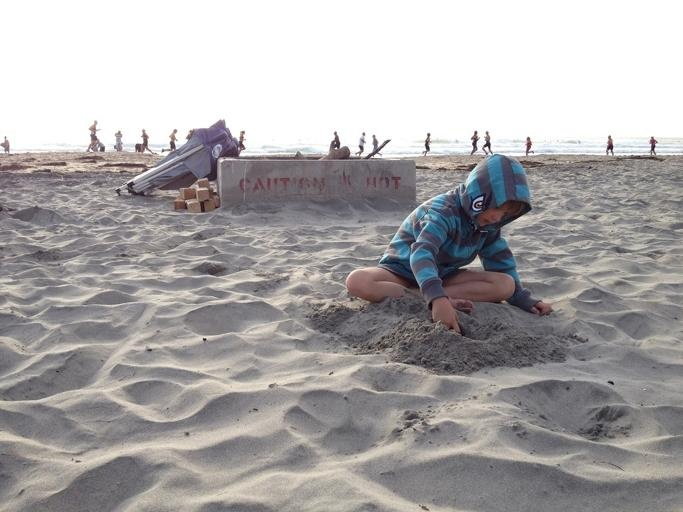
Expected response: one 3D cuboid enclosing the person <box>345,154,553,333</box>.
[{"bbox_3d":[0.683,-0.061,3.948,1.641,0.844,1.203,0,4,-25],"label":"person"}]
